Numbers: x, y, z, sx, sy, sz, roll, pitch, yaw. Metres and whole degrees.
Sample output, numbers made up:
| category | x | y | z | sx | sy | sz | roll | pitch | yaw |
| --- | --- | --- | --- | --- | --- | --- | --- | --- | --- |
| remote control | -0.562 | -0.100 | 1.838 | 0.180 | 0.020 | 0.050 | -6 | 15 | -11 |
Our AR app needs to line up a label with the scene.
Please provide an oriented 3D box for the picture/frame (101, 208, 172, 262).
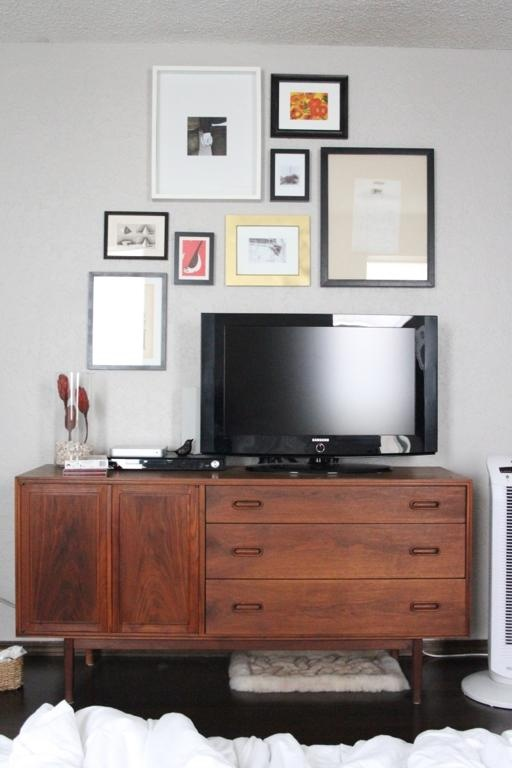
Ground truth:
| category | x | y | z | sx | sy | sz | roll | pitch | yaw |
| --- | --- | --- | --- | --- | --- | --- | --- | --- | --- |
| picture/frame | -0.486 | -0.594 | 3.220 | 0.222 | 0.172 | 0.016 | 0 | -2 | -5 |

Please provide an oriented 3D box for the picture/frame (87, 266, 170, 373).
| category | x | y | z | sx | sy | sz | roll | pitch | yaw |
| --- | --- | --- | --- | --- | --- | --- | --- | --- | --- |
| picture/frame | -0.513 | -0.250 | 3.225 | 0.340 | 0.392 | 0.018 | 2 | 3 | 15 |

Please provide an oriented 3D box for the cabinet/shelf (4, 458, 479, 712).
| category | x | y | z | sx | sy | sz | roll | pitch | yaw |
| --- | --- | --- | --- | --- | --- | --- | --- | --- | --- |
| cabinet/shelf | -0.026 | 0.688 | 2.996 | 1.630 | 0.766 | 0.520 | -2 | 1 | 7 |

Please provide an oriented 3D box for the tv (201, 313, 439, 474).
| category | x | y | z | sx | sy | sz | roll | pitch | yaw |
| --- | --- | --- | --- | --- | --- | --- | --- | --- | --- |
| tv | 0.248 | 0.013 | 3.105 | 0.884 | 0.574 | 0.244 | 0 | 13 | 5 |

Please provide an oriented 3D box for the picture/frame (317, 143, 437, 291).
| category | x | y | z | sx | sy | sz | roll | pitch | yaw |
| --- | --- | --- | --- | --- | --- | --- | --- | --- | --- |
| picture/frame | 0.486 | -0.662 | 3.234 | 0.601 | 0.693 | 0.032 | 0 | 1 | 1 |

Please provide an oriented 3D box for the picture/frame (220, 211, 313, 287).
| category | x | y | z | sx | sy | sz | roll | pitch | yaw |
| --- | --- | --- | --- | --- | --- | --- | --- | --- | --- |
| picture/frame | 0.052 | -0.533 | 3.233 | 0.340 | 0.274 | 0.026 | 3 | 11 | 16 |

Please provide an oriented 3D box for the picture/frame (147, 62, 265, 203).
| category | x | y | z | sx | sy | sz | roll | pitch | yaw |
| --- | --- | --- | --- | --- | --- | --- | --- | --- | --- |
| picture/frame | -0.215 | -1.002 | 3.228 | 0.575 | 0.664 | 0.033 | 1 | -1 | -4 |

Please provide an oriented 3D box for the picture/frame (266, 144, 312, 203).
| category | x | y | z | sx | sy | sz | roll | pitch | yaw |
| --- | --- | --- | --- | --- | --- | --- | --- | --- | --- |
| picture/frame | 0.135 | -0.831 | 3.233 | 0.232 | 0.295 | 0.034 | 0 | 0 | -4 |

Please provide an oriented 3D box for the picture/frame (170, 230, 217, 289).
| category | x | y | z | sx | sy | sz | roll | pitch | yaw |
| --- | --- | --- | --- | --- | --- | --- | --- | --- | --- |
| picture/frame | -0.242 | -0.492 | 3.222 | 0.243 | 0.308 | 0.023 | 0 | 1 | 1 |

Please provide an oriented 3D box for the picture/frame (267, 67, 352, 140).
| category | x | y | z | sx | sy | sz | roll | pitch | yaw |
| --- | --- | --- | --- | --- | --- | --- | --- | --- | --- |
| picture/frame | 0.215 | -1.125 | 3.233 | 0.293 | 0.235 | 0.022 | 0 | 3 | 1 |
